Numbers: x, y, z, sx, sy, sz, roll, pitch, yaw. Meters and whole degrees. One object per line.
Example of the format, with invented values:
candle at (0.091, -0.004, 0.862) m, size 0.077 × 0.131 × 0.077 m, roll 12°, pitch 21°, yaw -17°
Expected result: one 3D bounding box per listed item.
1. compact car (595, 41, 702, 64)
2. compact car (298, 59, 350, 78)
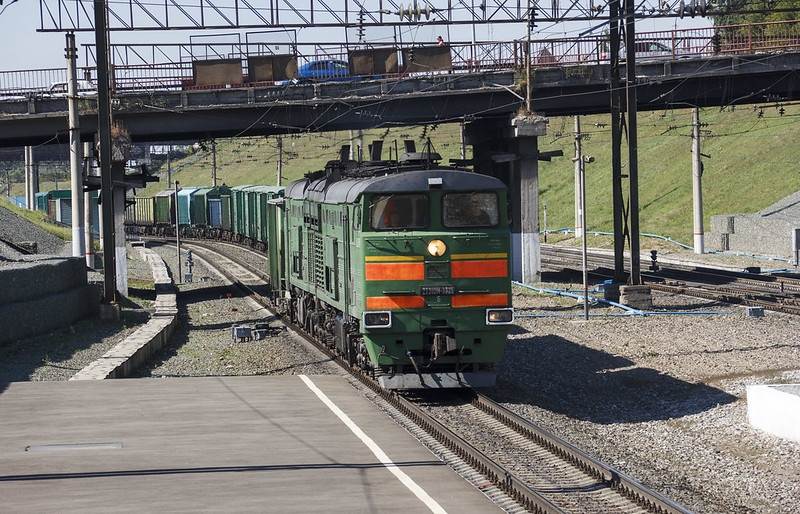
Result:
compact car at (12.183, -10.425, 60.723) m, size 4.399 × 1.113 × 6.798 m, roll -2°, pitch 7°, yaw -14°
compact car at (-3.941, -10.009, 63.133) m, size 2.254 × 1.330 × 11.279 m, roll -1°, pitch 7°, yaw -3°
